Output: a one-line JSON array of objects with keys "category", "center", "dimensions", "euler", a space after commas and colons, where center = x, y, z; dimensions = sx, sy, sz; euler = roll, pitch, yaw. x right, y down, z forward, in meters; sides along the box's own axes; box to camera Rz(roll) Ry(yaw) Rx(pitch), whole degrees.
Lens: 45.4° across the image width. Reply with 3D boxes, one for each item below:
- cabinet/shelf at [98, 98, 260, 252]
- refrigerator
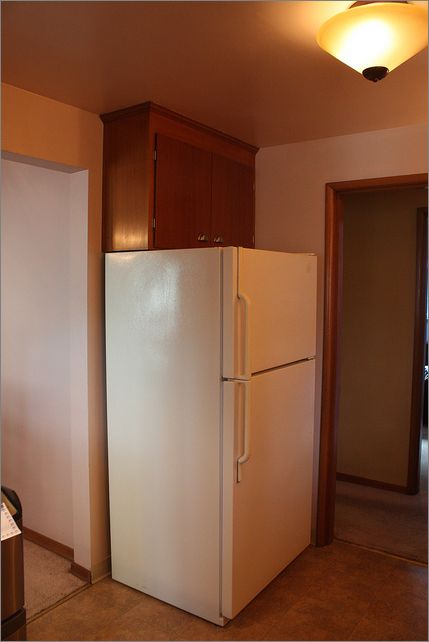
[{"category": "cabinet/shelf", "center": [-0.200, -0.719, 2.486], "dimensions": [0.189, 0.442, 0.626], "euler": [1, 4, 30]}, {"category": "refrigerator", "center": [0.226, 0.436, 3.594], "dimensions": [1.201, 3.089, 1.451], "euler": [0, 3, 28]}]
